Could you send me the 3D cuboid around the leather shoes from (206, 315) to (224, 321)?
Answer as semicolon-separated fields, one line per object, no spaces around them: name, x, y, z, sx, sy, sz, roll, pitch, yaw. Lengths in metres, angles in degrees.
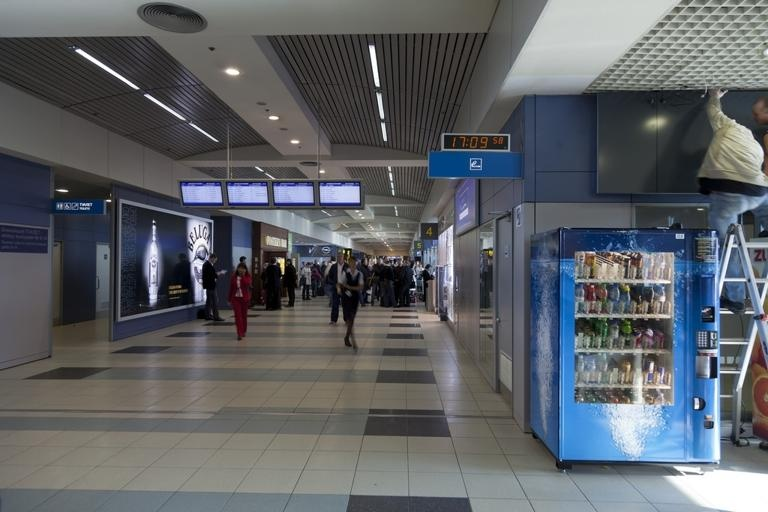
leather shoes;-4.999;1.797;14.911;0.561;0.219;0.185;1;-3;-5

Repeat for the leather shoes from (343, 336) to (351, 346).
leather shoes;-0.792;1.800;10.964;0.123;0.282;0.350;0;7;-7

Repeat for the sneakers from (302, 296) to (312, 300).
sneakers;-3.496;1.852;23.030;0.353;0.234;0.194;0;-9;0
